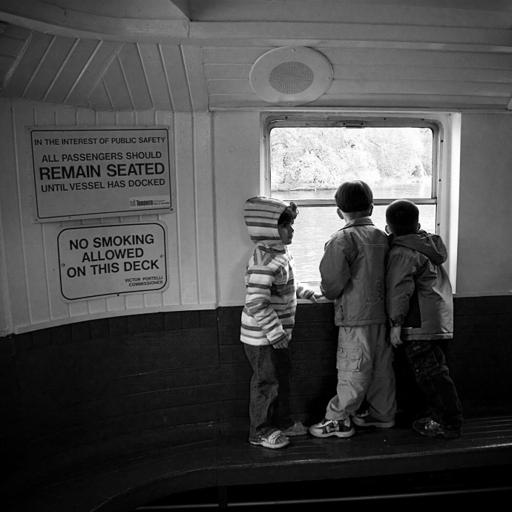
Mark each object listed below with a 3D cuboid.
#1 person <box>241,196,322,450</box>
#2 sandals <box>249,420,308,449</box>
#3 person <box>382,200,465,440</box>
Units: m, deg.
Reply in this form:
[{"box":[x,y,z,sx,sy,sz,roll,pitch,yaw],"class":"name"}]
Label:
[{"box":[0.121,0.405,3.316,0.433,1.551,0.407,-4,4,-13],"class":"person"},{"box":[0.172,1.123,3.299,0.247,0.090,0.159,-4,-4,-21],"class":"sandals"},{"box":[1.043,0.381,3.342,0.431,1.474,0.382,-3,4,9],"class":"person"}]
